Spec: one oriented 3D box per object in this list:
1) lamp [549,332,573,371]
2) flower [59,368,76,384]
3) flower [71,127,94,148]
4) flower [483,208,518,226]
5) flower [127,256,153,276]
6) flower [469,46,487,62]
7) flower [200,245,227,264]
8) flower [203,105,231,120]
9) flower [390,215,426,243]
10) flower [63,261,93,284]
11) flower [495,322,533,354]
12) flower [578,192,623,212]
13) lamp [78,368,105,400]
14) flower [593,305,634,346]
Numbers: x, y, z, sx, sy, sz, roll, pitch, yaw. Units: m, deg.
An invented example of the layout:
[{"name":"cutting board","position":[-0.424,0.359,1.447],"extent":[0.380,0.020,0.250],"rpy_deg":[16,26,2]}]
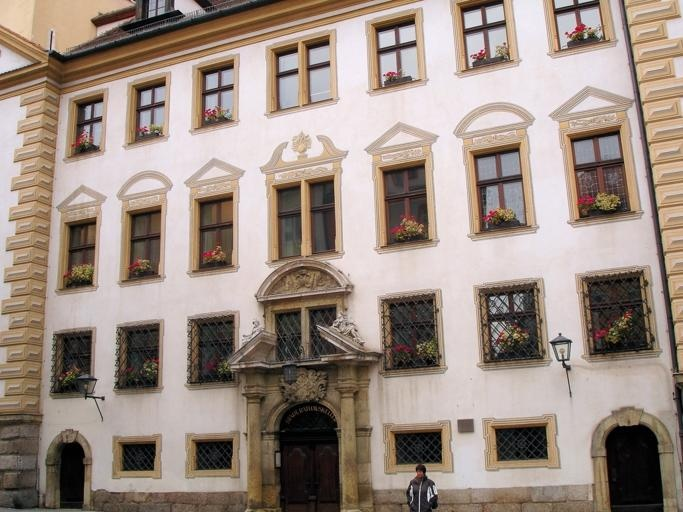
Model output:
[{"name":"lamp","position":[5.039,2.135,19.178],"extent":[0.451,0.813,0.595],"rpy_deg":[-7,-6,23]},{"name":"flower","position":[-7.514,3.250,23.296],"extent":[0.435,0.278,0.407],"rpy_deg":[-14,-12,-43]},{"name":"flower","position":[-7.663,-3.514,25.085],"extent":[0.685,0.722,0.232],"rpy_deg":[-10,-18,21]},{"name":"flower","position":[3.843,-0.938,20.482],"extent":[0.492,0.266,0.499],"rpy_deg":[16,34,30]},{"name":"flower","position":[-5.585,0.268,23.378],"extent":[0.504,0.388,0.502],"rpy_deg":[-5,-5,6]},{"name":"flower","position":[3.506,-5.114,21.590],"extent":[0.437,0.401,0.180],"rpy_deg":[-7,-17,11]},{"name":"flower","position":[-3.449,-0.052,22.829],"extent":[0.667,0.551,0.300],"rpy_deg":[-11,-19,24]},{"name":"flower","position":[-3.456,-3.999,23.675],"extent":[0.653,0.324,0.392],"rpy_deg":[5,-10,-38]},{"name":"flower","position":[1.640,-0.641,21.043],"extent":[0.677,0.709,0.293],"rpy_deg":[-20,-21,5]},{"name":"flower","position":[-7.399,0.523,24.139],"extent":[0.621,0.362,0.635],"rpy_deg":[-1,-11,-1]},{"name":"flower","position":[4.008,1.880,19.861],"extent":[0.812,0.710,0.269],"rpy_deg":[-7,-17,11]},{"name":"flower","position":[6.023,-1.242,19.887],"extent":[0.601,0.274,0.583],"rpy_deg":[2,-1,-1]},{"name":"lamp","position":[-6.722,3.461,22.636],"extent":[0.724,0.786,0.628],"rpy_deg":[-4,-6,13]},{"name":"flower","position":[6.196,1.609,19.180],"extent":[0.928,0.803,0.229],"rpy_deg":[-9,-18,18]}]
